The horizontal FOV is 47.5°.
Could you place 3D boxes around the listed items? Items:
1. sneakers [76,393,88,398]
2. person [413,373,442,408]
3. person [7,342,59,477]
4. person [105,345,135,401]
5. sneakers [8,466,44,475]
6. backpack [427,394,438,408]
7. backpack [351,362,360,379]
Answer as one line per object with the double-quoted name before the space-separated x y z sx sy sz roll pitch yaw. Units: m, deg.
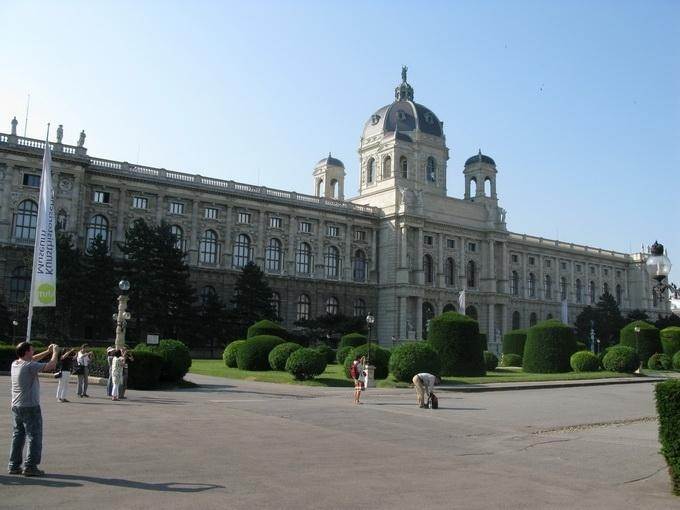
"sneakers" -8.191 4.501 24.611 0.326 0.136 0.115 1 -5 -5
"person" 2.911 4.591 26.110 0.833 0.862 1.434 4 -2 7
"person" -6.167 3.033 15.457 0.827 2.555 1.499 5 -2 -22
"person" -7.237 3.908 25.320 0.699 1.530 2.505 5 -2 -14
"sneakers" -6.035 4.165 14.860 0.699 0.165 0.207 4 -2 6
"backpack" 3.046 4.867 25.576 0.389 0.541 0.312 -8 -13 42
"backpack" 0.573 4.167 27.676 0.295 0.623 0.450 3 0 -1
